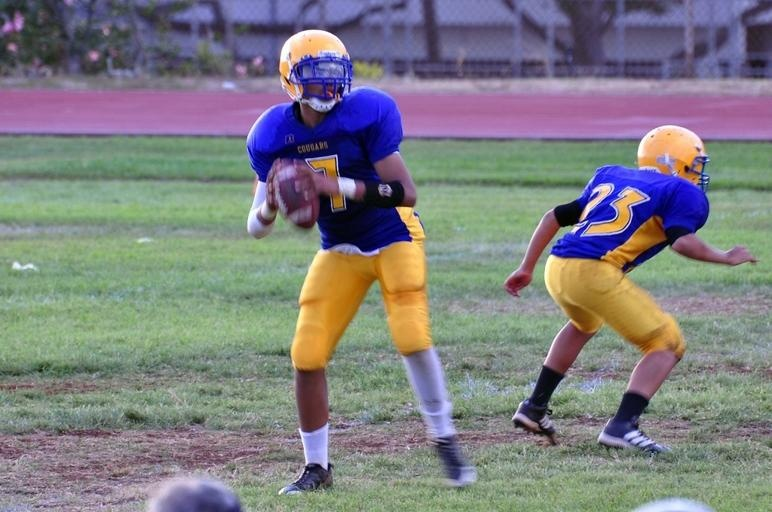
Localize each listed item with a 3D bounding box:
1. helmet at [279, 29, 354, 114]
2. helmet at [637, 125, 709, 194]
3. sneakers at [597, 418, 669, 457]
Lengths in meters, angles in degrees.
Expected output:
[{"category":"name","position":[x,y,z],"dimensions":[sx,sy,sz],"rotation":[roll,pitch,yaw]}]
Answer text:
[{"category":"helmet","position":[-0.541,-1.401,10.921],"dimensions":[0.546,0.606,0.319],"rotation":[-1,11,-1]},{"category":"helmet","position":[2.310,-0.806,11.570],"dimensions":[0.592,0.453,0.467],"rotation":[1,9,-14]},{"category":"sneakers","position":[1.991,1.413,11.223],"dimensions":[0.651,0.259,0.209],"rotation":[6,-3,2]}]
